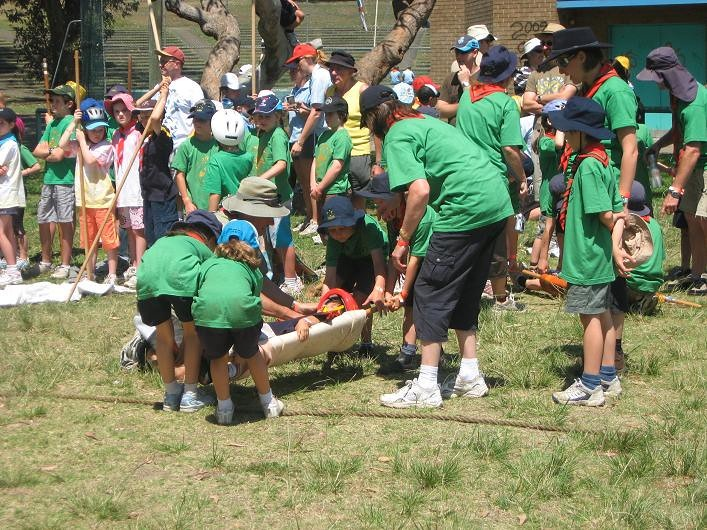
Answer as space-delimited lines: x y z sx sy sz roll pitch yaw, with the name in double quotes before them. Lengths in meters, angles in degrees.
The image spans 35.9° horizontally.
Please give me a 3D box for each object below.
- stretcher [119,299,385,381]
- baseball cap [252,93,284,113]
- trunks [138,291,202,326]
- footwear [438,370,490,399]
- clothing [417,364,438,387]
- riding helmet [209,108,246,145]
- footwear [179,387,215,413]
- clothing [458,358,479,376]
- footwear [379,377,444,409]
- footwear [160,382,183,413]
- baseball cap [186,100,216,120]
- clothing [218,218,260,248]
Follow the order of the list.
"stretcher" -0.948 0.684 9.651 2.135 0.653 1.304 -5 17 -34
"baseball cap" -0.929 -1.746 11.859 0.300 0.207 0.275 0 7 -6
"trunks" -1.517 0.347 8.896 0.490 0.319 0.256 -2 2 13
"footwear" 0.940 1.017 9.248 0.454 0.180 0.180 0 8 8
"clothing" 0.639 0.904 9.066 0.181 0.193 0.148 -1 7 -17
"riding helmet" -1.232 -1.445 11.302 0.278 0.341 0.281 -31 -13 3
"footwear" -1.326 1.120 9.191 0.133 0.143 0.346 6 9 41
"clothing" 0.979 0.854 9.172 0.165 0.144 0.152 -6 1 7
"footwear" 0.494 1.072 9.089 0.574 0.230 0.210 1 -3 6
"footwear" -1.512 1.079 9.148 0.172 0.254 0.124 0 7 -10
"baseball cap" -1.580 -1.653 11.573 0.206 0.128 0.263 0 9 13
"clothing" -0.935 -0.264 8.984 0.226 0.152 0.298 2 6 5
